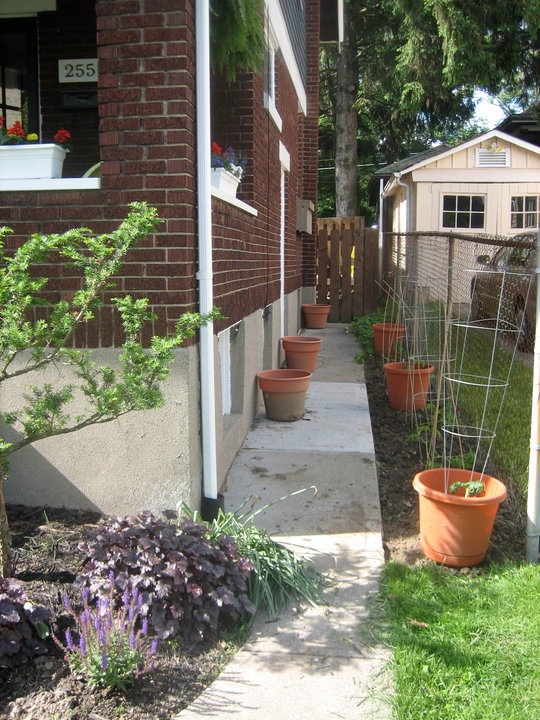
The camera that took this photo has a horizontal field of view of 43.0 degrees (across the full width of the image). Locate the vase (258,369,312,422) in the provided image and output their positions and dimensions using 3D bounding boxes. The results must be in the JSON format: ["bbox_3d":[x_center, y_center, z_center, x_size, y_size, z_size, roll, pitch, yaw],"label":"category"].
[{"bbox_3d":[0.121,0.338,6.222,0.470,0.441,0.442,1,8,-2],"label":"vase"}]

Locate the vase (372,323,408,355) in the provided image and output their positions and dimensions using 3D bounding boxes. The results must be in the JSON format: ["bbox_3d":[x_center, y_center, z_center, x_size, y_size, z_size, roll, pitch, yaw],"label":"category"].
[{"bbox_3d":[1.686,-0.325,9.618,0.414,0.374,0.461,2,8,2],"label":"vase"}]

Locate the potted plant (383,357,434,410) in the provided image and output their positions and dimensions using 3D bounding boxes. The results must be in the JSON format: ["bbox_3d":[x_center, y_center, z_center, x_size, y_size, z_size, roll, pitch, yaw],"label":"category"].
[{"bbox_3d":[1.325,0.263,6.591,0.445,0.515,0.643,2,8,10],"label":"potted plant"}]

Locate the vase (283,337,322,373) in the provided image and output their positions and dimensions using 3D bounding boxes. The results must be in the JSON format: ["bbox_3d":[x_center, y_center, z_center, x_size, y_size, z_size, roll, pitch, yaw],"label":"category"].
[{"bbox_3d":[0.369,-0.050,8.077,0.434,0.443,0.516,1,8,0],"label":"vase"}]

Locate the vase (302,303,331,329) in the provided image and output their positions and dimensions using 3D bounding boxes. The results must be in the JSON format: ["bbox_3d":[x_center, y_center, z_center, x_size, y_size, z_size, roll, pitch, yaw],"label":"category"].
[{"bbox_3d":[0.883,-0.848,13.214,0.451,0.381,0.484,0,1,0],"label":"vase"}]

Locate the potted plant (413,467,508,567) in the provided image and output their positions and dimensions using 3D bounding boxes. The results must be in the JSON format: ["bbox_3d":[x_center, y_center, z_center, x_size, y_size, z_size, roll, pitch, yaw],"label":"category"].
[{"bbox_3d":[0.948,0.781,3.405,0.447,0.377,0.465,11,13,43],"label":"potted plant"}]
